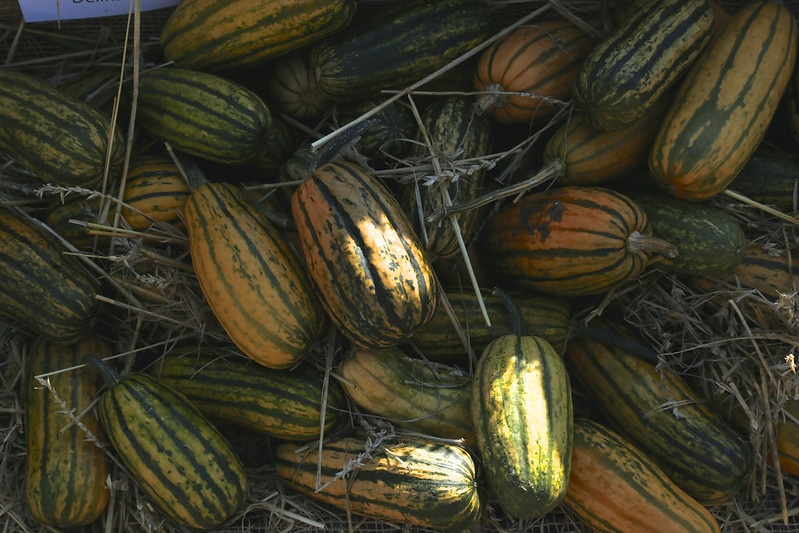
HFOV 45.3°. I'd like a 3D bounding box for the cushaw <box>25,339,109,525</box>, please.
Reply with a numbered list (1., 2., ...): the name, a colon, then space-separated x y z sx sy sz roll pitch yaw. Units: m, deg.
1. cushaw: -1.341 0.694 3.886 0.298 0.812 0.271 1 -11 -16
